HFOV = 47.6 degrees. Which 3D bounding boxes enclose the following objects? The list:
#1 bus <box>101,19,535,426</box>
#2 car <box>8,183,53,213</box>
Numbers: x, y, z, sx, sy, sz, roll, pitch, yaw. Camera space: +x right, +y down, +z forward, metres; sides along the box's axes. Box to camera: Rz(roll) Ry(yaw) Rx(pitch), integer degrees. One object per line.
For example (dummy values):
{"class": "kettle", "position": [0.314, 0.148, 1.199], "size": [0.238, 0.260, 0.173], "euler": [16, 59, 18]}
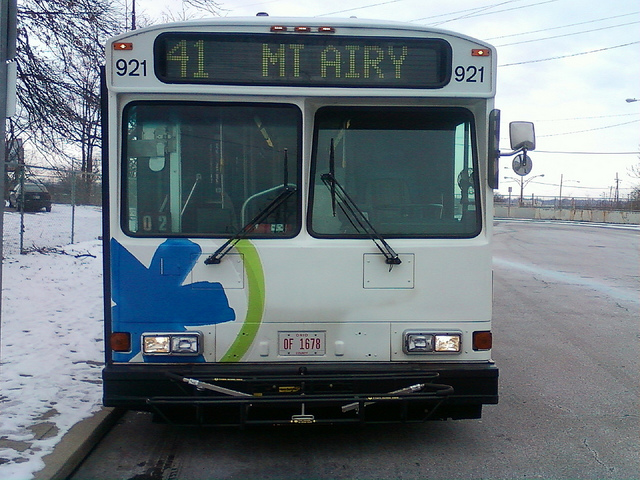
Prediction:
{"class": "bus", "position": [-0.367, -0.229, 8.408], "size": [2.875, 2.347, 4.535], "euler": [0, 0, -5]}
{"class": "car", "position": [-7.557, -1.012, 19.304], "size": [1.189, 0.715, 2.392], "euler": [-2, 6, -20]}
